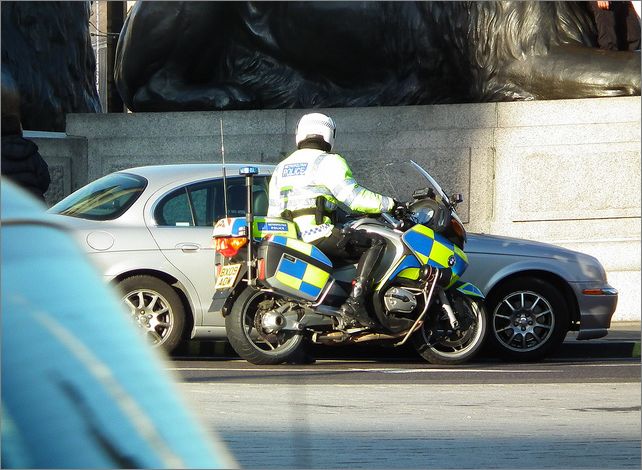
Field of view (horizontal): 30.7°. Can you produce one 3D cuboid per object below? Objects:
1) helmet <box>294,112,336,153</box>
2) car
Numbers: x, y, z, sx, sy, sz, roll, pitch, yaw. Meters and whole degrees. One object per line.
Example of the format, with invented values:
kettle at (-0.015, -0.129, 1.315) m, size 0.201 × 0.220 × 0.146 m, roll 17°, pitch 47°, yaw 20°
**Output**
helmet at (-0.084, -1.177, 13.018) m, size 0.363 × 0.418 × 0.454 m, roll 5°, pitch 9°, yaw 7°
car at (0.258, 0.241, 13.311) m, size 5.565 × 1.750 × 2.554 m, roll -1°, pitch -2°, yaw -18°
